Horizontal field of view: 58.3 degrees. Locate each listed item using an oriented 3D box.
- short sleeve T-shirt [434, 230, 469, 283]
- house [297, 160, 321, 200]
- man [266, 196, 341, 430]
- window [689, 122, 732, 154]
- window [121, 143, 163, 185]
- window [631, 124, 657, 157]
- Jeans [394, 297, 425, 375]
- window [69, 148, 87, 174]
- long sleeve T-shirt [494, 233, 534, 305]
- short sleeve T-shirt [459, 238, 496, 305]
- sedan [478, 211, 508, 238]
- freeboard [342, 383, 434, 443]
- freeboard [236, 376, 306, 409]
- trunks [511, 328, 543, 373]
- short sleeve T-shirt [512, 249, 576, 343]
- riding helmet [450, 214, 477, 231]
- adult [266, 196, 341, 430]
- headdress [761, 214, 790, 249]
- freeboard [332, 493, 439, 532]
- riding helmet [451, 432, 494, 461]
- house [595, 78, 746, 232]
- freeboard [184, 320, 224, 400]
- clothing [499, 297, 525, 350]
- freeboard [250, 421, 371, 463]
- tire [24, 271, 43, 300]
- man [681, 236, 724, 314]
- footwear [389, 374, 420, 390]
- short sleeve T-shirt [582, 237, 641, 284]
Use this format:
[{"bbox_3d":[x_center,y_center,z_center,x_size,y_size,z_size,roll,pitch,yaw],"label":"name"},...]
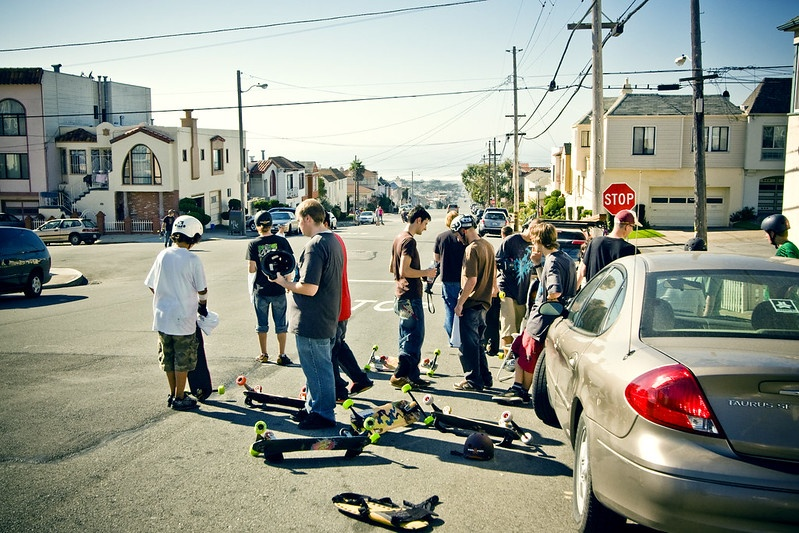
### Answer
[{"bbox_3d":[0.772,-0.139,10.500,0.706,0.957,0.338,0,4,9],"label":"short sleeve T-shirt"},{"bbox_3d":[-10.642,-10.042,82.577,2.734,4.286,4.609,-8,8,-8],"label":"house"},{"bbox_3d":[-1.088,0.627,9.120,0.752,2.741,1.001,-1,14,-5],"label":"man"},{"bbox_3d":[17.360,-6.999,39.346,1.257,1.379,0.368,7,15,24],"label":"window"},{"bbox_3d":[-15.564,-6.303,43.368,2.367,2.705,0.115,0,4,-8],"label":"window"},{"bbox_3d":[13.329,-6.982,39.207,1.608,2.220,0.146,4,17,15],"label":"window"},{"bbox_3d":[0.133,1.066,10.423,0.387,1.153,0.398,0,14,-2],"label":"Jeans"},{"bbox_3d":[-20.638,-6.829,46.125,1.385,2.005,0.132,5,13,6],"label":"window"},{"bbox_3d":[1.823,0.076,11.445,0.904,1.053,0.518,-10,18,-35],"label":"long sleeve T-shirt"},{"bbox_3d":[1.089,0.102,10.225,0.373,0.937,0.813,7,12,36],"label":"short sleeve T-shirt"},{"bbox_3d":[5.064,-1.953,39.154,1.555,1.599,3.499,1,12,7],"label":"sedan"},{"bbox_3d":[-0.145,1.919,9.072,1.097,0.568,0.401,-10,-30,-43],"label":"freeboard"},{"bbox_3d":[-1.722,1.761,9.620,0.864,0.266,0.460,3,-2,18],"label":"freeboard"},{"bbox_3d":[1.729,1.174,9.751,0.384,0.559,0.627,31,-8,7],"label":"trunks"},{"bbox_3d":[1.980,0.389,9.919,0.706,1.280,1.187,13,-4,24],"label":"short sleeve T-shirt"},{"bbox_3d":[0.920,-0.615,10.503,0.289,0.195,0.225,-19,17,-1],"label":"riding helmet"},{"bbox_3d":[-1.084,0.631,9.121,0.755,2.733,0.995,-1,14,-6],"label":"adult"},{"bbox_3d":[5.563,-0.531,10.570,0.375,0.487,0.418,-12,4,-16],"label":"headdress"},{"bbox_3d":[-0.151,2.548,7.386,0.648,0.229,0.456,12,14,5],"label":"freeboard"},{"bbox_3d":[0.868,2.145,8.427,0.385,0.213,0.269,-3,-12,17],"label":"riding helmet"},{"bbox_3d":[15.587,-6.046,41.211,7.578,7.293,5.395,2,5,18],"label":"house"},{"bbox_3d":[-2.737,1.308,9.819,0.313,1.107,0.225,-2,21,-5],"label":"freeboard"},{"bbox_3d":[1.859,0.944,11.960,0.431,1.042,0.313,-9,30,-10],"label":"clothing"},{"bbox_3d":[-1.061,2.076,8.299,1.030,0.324,0.610,0,-5,-10],"label":"freeboard"},{"bbox_3d":[-9.093,0.485,17.823,0.231,0.684,0.665,-2,1,11],"label":"tire"},{"bbox_3d":[4.887,0.160,12.098,0.285,1.286,0.406,10,-3,41],"label":"man"},{"bbox_3d":[0.116,1.678,10.320,0.515,0.232,0.177,-1,7,-11],"label":"footwear"},{"bbox_3d":[3.134,-0.006,10.685,0.987,0.867,0.397,11,13,43],"label":"short sleeve T-shirt"}]
